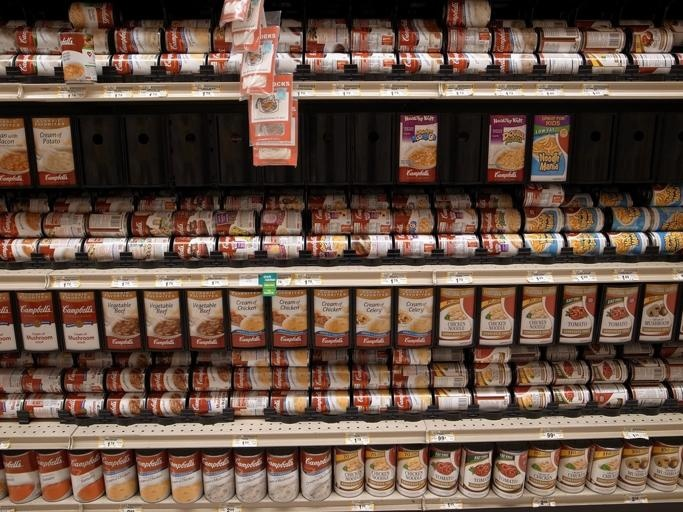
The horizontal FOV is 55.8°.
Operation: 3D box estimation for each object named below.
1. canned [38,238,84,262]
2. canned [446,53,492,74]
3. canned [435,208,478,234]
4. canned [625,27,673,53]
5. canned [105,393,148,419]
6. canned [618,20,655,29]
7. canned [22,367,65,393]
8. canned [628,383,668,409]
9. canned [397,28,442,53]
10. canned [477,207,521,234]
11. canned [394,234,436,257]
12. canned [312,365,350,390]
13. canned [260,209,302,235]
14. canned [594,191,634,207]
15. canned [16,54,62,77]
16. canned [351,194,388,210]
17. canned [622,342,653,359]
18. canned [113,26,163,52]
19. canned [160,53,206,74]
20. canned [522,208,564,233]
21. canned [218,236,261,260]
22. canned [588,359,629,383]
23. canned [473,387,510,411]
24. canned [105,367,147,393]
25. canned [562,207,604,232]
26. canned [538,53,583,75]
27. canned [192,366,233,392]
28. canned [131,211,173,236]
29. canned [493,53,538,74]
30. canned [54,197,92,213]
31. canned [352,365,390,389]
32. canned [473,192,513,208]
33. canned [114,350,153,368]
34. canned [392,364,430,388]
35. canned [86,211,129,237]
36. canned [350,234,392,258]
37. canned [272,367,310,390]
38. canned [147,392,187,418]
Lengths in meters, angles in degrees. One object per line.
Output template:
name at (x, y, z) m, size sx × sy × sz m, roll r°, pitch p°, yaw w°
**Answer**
canned at (-1.684, -0.041, 3.872) m, size 0.259 × 0.133 × 0.093 m, roll -1°, pitch -59°, yaw 7°
canned at (0.750, -1.116, 3.751) m, size 0.292 × 0.155 × 0.149 m, roll -4°, pitch -81°, yaw 5°
canned at (0.714, -0.210, 3.967) m, size 0.312 × 0.172 × 0.164 m, roll -2°, pitch -70°, yaw -2°
canned at (1.857, -1.284, 3.856) m, size 0.280 × 0.105 × 0.131 m, roll -1°, pitch -62°, yaw -5°
canned at (-1.306, 0.903, 3.975) m, size 0.280 × 0.163 × 0.157 m, roll 0°, pitch -83°, yaw 2°
canned at (1.794, -1.384, 3.900) m, size 0.166 × 0.091 × 0.055 m, roll 1°, pitch -74°, yaw 5°
canned at (-1.839, 0.767, 3.994) m, size 0.199 × 0.172 × 0.164 m, roll -1°, pitch -82°, yaw -10°
canned at (1.939, 0.859, 4.088) m, size 0.194 × 0.151 × 0.154 m, roll 0°, pitch -85°, yaw 0°
canned at (0.461, -1.247, 3.812) m, size 0.314 × 0.179 × 0.170 m, roll 0°, pitch -77°, yaw -7°
canned at (0.982, -0.201, 4.016) m, size 0.308 × 0.171 × 0.164 m, roll 3°, pitch -92°, yaw -3°
canned at (0.452, -0.061, 3.900) m, size 0.281 × 0.155 × 0.153 m, roll -7°, pitch -102°, yaw -1°
canned at (-0.059, 0.755, 4.005) m, size 0.192 × 0.167 × 0.158 m, roll 2°, pitch -90°, yaw -3°
canned at (-0.360, -0.203, 3.952) m, size 0.288 × 0.176 × 0.164 m, roll 1°, pitch -92°, yaw 1°
canned at (1.695, -0.343, 4.001) m, size 0.216 × 0.119 × 0.117 m, roll 0°, pitch -90°, yaw -7°
canned at (-1.730, -1.094, 3.720) m, size 0.268 × 0.123 × 0.100 m, roll -3°, pitch -62°, yaw -4°
canned at (0.177, -0.338, 4.020) m, size 0.219 × 0.124 × 0.119 m, roll 1°, pitch -85°, yaw -2°
canned at (1.886, 0.601, 4.099) m, size 0.158 × 0.107 × 0.043 m, roll -1°, pitch -73°, yaw 4°
canned at (-1.183, -1.248, 3.766) m, size 0.273 × 0.065 × 0.130 m, roll -2°, pitch -62°, yaw -5°
canned at (-0.906, -1.096, 3.706) m, size 0.258 × 0.106 × 0.107 m, roll -2°, pitch -76°, yaw -4°
canned at (1.248, -0.219, 3.991) m, size 0.245 × 0.107 × 0.127 m, roll -1°, pitch -62°, yaw -5°
canned at (-0.609, -0.049, 3.897) m, size 0.261 × 0.145 × 0.101 m, roll -5°, pitch -62°, yaw -3°
canned at (1.690, 0.730, 4.079) m, size 0.252 × 0.101 × 0.119 m, roll -2°, pitch -62°, yaw -5°
canned at (0.939, 0.886, 4.012) m, size 0.266 × 0.150 × 0.153 m, roll -1°, pitch -104°, yaw -3°
canned at (-1.322, 0.771, 3.983) m, size 0.302 × 0.167 × 0.159 m, roll -3°, pitch -90°, yaw -9°
canned at (1.499, -0.242, 4.018) m, size 0.306 × 0.169 × 0.161 m, roll 5°, pitch -86°, yaw -3°
canned at (1.287, -1.115, 3.756) m, size 0.271 × 0.117 × 0.113 m, roll -1°, pitch -100°, yaw 0°
canned at (-0.794, 0.759, 3.985) m, size 0.297 × 0.169 × 0.168 m, roll -1°, pitch -93°, yaw -2°
canned at (-1.150, -0.192, 3.937) m, size 0.290 × 0.174 × 0.159 m, roll -1°, pitch -73°, yaw 0°
canned at (1.012, -1.118, 3.756) m, size 0.271 × 0.116 × 0.107 m, roll 1°, pitch -112°, yaw -2°
canned at (-1.647, -0.306, 3.995) m, size 0.236 × 0.130 × 0.125 m, roll 2°, pitch -87°, yaw 4°
canned at (0.189, 0.750, 4.023) m, size 0.287 × 0.163 × 0.159 m, roll 1°, pitch -87°, yaw -10°
canned at (0.957, -0.342, 4.026) m, size 0.233 × 0.128 × 0.123 m, roll -1°, pitch -59°, yaw -4°
canned at (-1.299, 0.646, 4.032) m, size 0.236 × 0.072 × 0.095 m, roll -3°, pitch -62°, yaw -4°
canned at (0.433, 0.749, 4.020) m, size 0.274 × 0.169 × 0.155 m, roll -2°, pitch -80°, yaw 8°
canned at (-1.411, -0.186, 3.945) m, size 0.302 × 0.167 × 0.161 m, roll -2°, pitch -107°, yaw 6°
canned at (0.185, -0.061, 3.902) m, size 0.285 × 0.162 × 0.152 m, roll -4°, pitch -106°, yaw -1°
canned at (-0.301, 0.756, 3.998) m, size 0.267 × 0.166 × 0.154 m, roll 2°, pitch -105°, yaw 5°
canned at (-1.068, 0.893, 4.022) m, size 0.268 × 0.169 × 0.153 m, roll -2°, pitch -69°, yaw 2°
